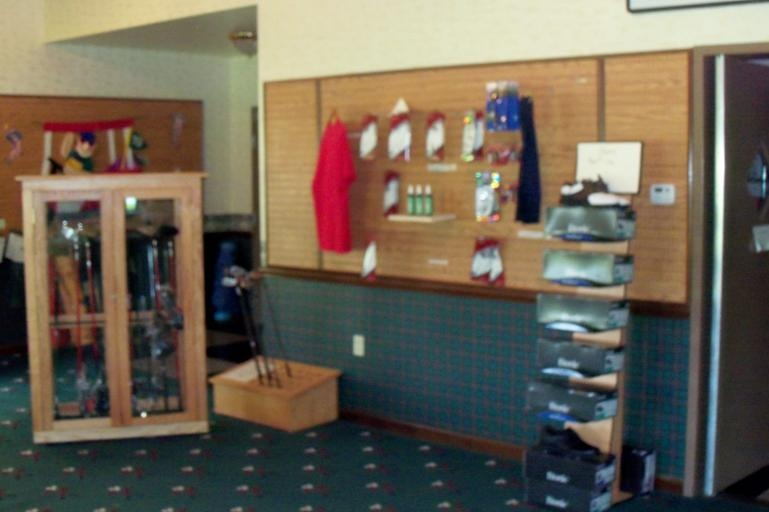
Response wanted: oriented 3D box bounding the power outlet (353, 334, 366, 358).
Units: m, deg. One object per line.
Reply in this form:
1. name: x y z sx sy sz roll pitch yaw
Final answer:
1. power outlet: -0.230 0.807 5.990 0.150 0.203 0.027 6 14 30
